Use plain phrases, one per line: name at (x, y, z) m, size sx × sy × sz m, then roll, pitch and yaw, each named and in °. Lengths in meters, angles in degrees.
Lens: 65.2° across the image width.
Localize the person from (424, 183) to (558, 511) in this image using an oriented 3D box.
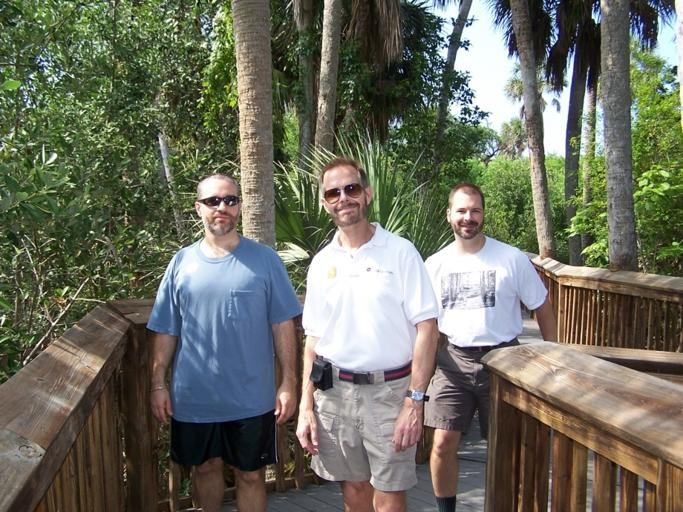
person at (1.028, 0.633, 3.810) m, size 0.870 × 1.822 × 0.586 m, roll -3°, pitch 1°, yaw 14°

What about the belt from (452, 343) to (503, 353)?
belt at (0.970, 0.644, 3.767) m, size 0.371 × 0.046 × 0.084 m, roll -4°, pitch 0°, yaw 16°
